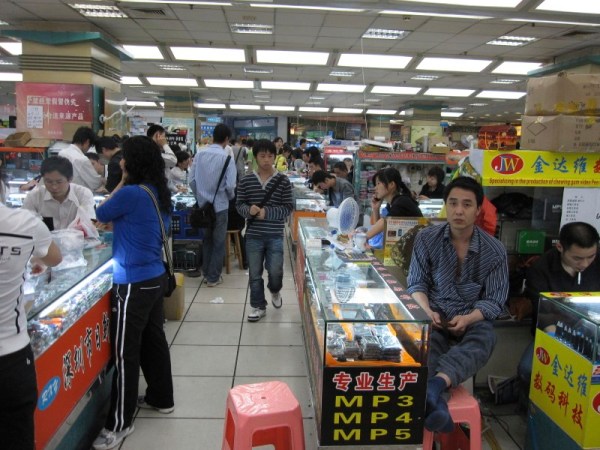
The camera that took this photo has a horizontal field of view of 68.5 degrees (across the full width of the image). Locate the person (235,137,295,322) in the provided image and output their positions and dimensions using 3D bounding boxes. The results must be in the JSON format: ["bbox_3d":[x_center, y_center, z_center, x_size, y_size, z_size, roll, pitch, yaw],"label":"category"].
[{"bbox_3d":[-0.345,0.033,4.348,0.489,1.779,0.372,-6,16,-29],"label":"person"}]

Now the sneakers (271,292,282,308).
[{"bbox_3d":[-0.252,0.760,4.628,0.079,0.196,0.075,-7,5,-3],"label":"sneakers"}]

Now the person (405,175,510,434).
[{"bbox_3d":[0.869,0.458,2.593,0.602,0.845,0.831,9,16,26],"label":"person"}]

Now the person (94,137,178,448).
[{"bbox_3d":[-1.067,0.393,2.813,0.355,1.897,0.733,9,16,25],"label":"person"}]

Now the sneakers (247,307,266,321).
[{"bbox_3d":[-0.434,0.897,4.414,0.083,0.099,0.229,0,-12,15],"label":"sneakers"}]

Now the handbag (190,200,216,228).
[{"bbox_3d":[-1.101,-0.124,4.990,0.281,0.328,0.274,0,15,-6],"label":"handbag"}]

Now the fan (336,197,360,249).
[{"bbox_3d":[0.366,-0.045,3.418,0.096,0.323,0.245,6,0,31],"label":"fan"}]

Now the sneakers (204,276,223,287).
[{"bbox_3d":[-1.060,0.684,5.324,0.085,0.110,0.242,0,-3,8],"label":"sneakers"}]
